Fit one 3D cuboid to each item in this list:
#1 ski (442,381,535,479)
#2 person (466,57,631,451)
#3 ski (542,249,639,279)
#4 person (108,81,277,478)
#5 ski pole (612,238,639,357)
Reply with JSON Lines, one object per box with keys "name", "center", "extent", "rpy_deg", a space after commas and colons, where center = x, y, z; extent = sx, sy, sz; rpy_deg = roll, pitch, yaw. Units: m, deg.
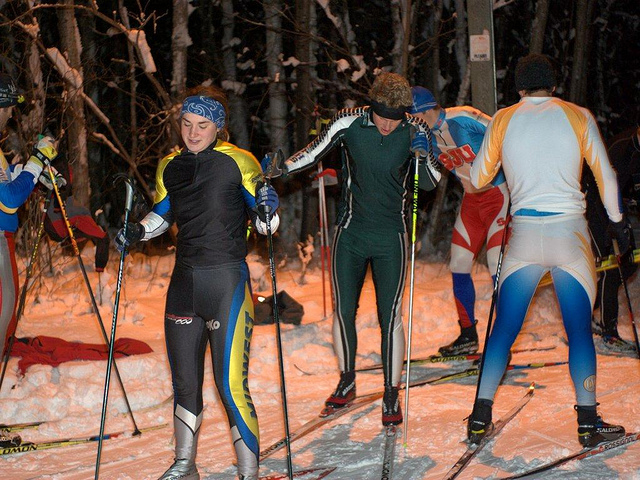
{"name": "ski", "center": [1.257, 1.417, 4.459], "extent": [0.113, 0.128, 1.451], "rpy_deg": [-7, 14, 33]}
{"name": "person", "center": [1.601, 0.086, 4.259], "extent": [1.108, 2.752, 0.311], "rpy_deg": [-1, 3, 11]}
{"name": "ski", "center": [2.203, 0.192, 4.894], "extent": [0.683, 0.120, 0.126], "rpy_deg": [-19, 9, 1]}
{"name": "person", "center": [-0.690, 0.246, 3.870], "extent": [0.866, 2.485, 0.476], "rpy_deg": [-2, 3, -5]}
{"name": "ski pole", "center": [3.191, 0.634, 6.280], "extent": [0.082, 1.193, 0.079], "rpy_deg": [-4, -8, -11]}
